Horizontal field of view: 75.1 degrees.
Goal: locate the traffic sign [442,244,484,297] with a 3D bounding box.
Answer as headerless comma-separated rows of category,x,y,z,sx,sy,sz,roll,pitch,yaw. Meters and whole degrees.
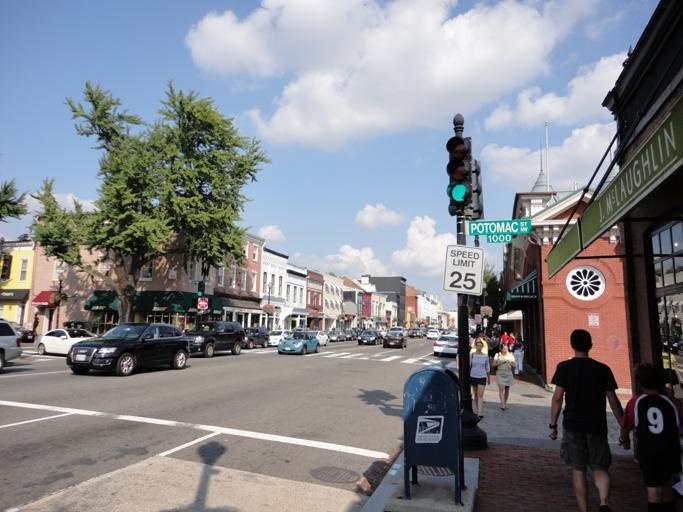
traffic sign,1.812,0.212,6.572,0.802,0.926,0.104,1,-14,10

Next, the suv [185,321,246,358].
suv,-7.804,4.912,26.780,1.670,1.179,2.904,-7,-16,22

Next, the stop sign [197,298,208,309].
stop sign,-9.083,3.047,28.977,0.916,0.874,0.124,1,5,-9

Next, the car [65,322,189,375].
car,-8.068,3.538,17.411,1.432,1.989,4.112,-4,-13,25

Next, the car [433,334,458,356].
car,7.620,6.541,32.676,1.614,1.495,2.986,-1,-12,11

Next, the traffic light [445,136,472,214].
traffic light,2.047,-1.452,7.707,0.399,1.405,0.575,-1,-12,15
